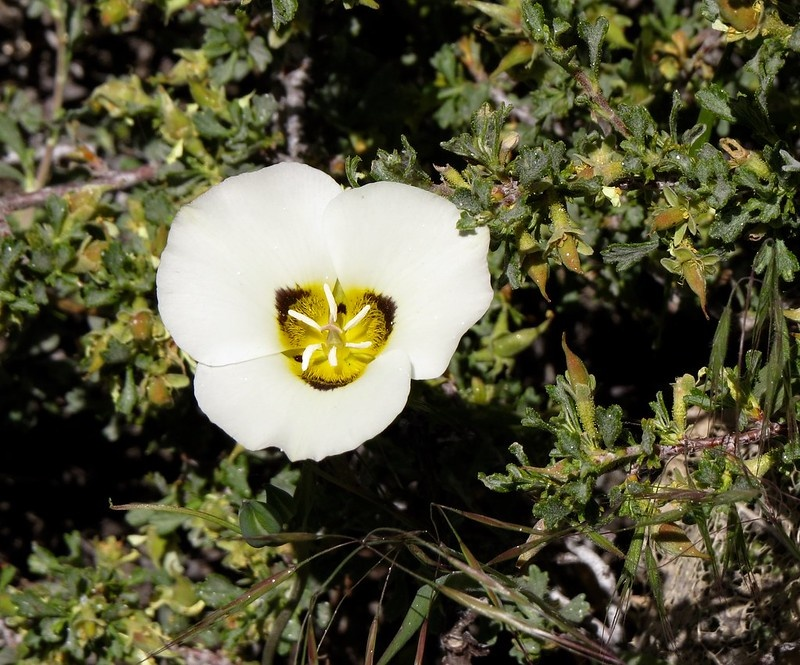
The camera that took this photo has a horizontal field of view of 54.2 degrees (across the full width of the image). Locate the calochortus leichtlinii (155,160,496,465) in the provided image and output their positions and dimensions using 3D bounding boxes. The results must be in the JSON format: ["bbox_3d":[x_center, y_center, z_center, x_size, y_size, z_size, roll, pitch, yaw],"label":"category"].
[{"bbox_3d":[-0.180,-0.040,1.686,0.694,0.375,0.604,15,84,-1],"label":"calochortus leichtlinii"}]
